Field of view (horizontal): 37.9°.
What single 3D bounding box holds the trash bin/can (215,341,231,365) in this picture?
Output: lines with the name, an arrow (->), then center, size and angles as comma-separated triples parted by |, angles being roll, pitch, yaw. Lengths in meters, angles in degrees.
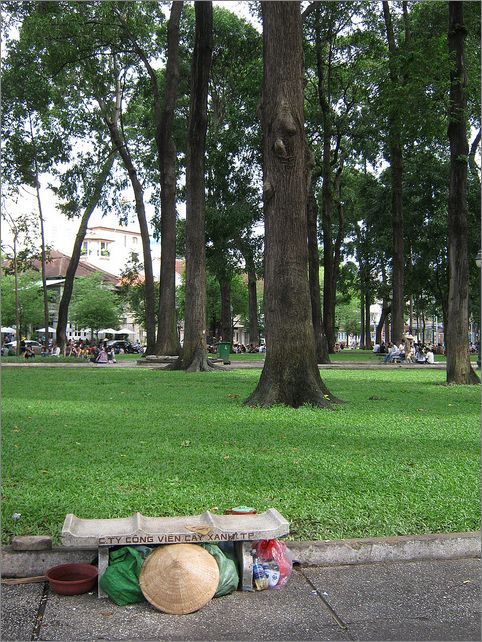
trash bin/can -> -0.702, 1.344, 30.247 | 0.678, 1.196, 0.721 | 2, -3, -12

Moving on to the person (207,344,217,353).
person -> -2.003, 1.897, 48.365 | 0.748, 0.391, 0.970 | -1, 5, -1

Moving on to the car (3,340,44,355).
car -> -16.335, 2.009, 52.592 | 1.926, 0.766, 0.934 | -4, 5, -24

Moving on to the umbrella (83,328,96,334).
umbrella -> -18.242, 1.182, 83.319 | 1.334, 0.749, 1.467 | -1, -5, -6
